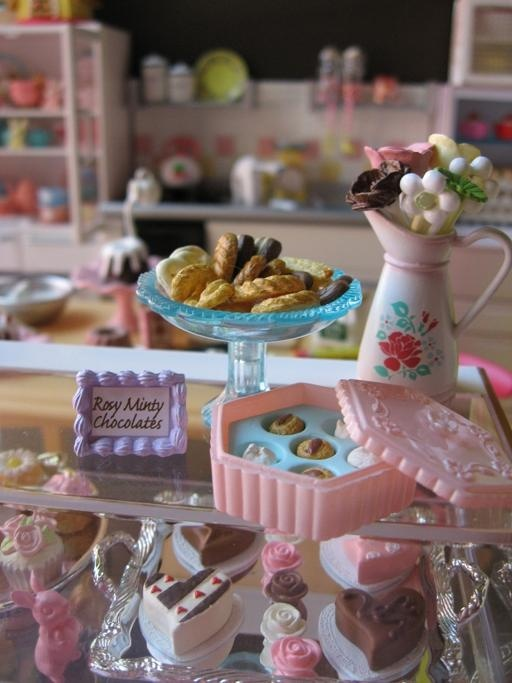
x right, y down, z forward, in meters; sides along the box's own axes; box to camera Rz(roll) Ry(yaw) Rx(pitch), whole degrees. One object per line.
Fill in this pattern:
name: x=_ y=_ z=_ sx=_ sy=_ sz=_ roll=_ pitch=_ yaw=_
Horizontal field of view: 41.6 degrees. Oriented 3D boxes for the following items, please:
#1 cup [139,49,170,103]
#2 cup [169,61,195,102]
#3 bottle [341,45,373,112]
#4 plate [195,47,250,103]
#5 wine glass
cup: x=-0.561 y=-1.390 z=3.564 sx=0.200 sy=0.238 sz=0.103 roll=17 pitch=31 yaw=34
cup: x=-0.407 y=-1.358 z=3.551 sx=0.128 sy=0.195 sz=0.055 roll=0 pitch=26 yaw=1
bottle: x=0.510 y=-1.355 z=3.509 sx=0.135 sy=0.301 sz=0.304 roll=3 pitch=24 yaw=6
plate: x=-0.189 y=-1.456 z=3.689 sx=0.291 sy=0.271 sz=0.194 roll=0 pitch=25 yaw=0
wine glass: x=-0.003 y=-0.017 z=0.762 sx=0.161 sy=0.096 sz=0.145 roll=-5 pitch=24 yaw=-19
